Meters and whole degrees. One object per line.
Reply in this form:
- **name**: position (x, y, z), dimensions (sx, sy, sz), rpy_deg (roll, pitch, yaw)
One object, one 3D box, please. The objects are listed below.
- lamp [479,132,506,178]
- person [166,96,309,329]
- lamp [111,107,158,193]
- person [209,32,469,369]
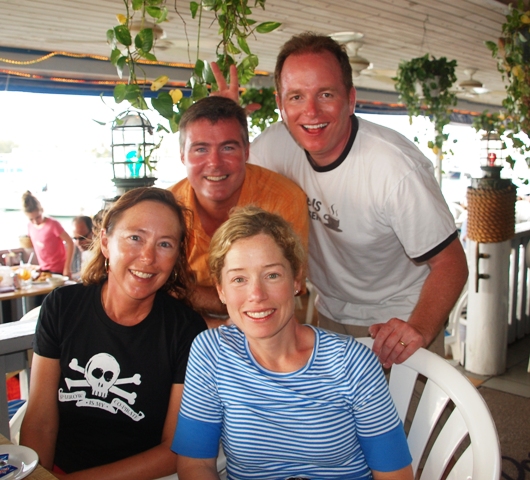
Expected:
- **lamp**: position (1.735, -0.670, 3.734), dimensions (0.169, 0.412, 0.627), rpy_deg (0, 4, 24)
- **person**: position (-0.121, -0.143, 2.026), dimensions (0.676, 0.918, 0.577), rpy_deg (2, 22, 14)
- **lamp**: position (-0.855, -0.544, 3.177), dimensions (0.310, 0.568, 0.326), rpy_deg (6, 11, 34)
- **person**: position (0.215, -0.080, 1.925), dimensions (0.945, 1.340, 0.757), rpy_deg (3, 32, 35)
